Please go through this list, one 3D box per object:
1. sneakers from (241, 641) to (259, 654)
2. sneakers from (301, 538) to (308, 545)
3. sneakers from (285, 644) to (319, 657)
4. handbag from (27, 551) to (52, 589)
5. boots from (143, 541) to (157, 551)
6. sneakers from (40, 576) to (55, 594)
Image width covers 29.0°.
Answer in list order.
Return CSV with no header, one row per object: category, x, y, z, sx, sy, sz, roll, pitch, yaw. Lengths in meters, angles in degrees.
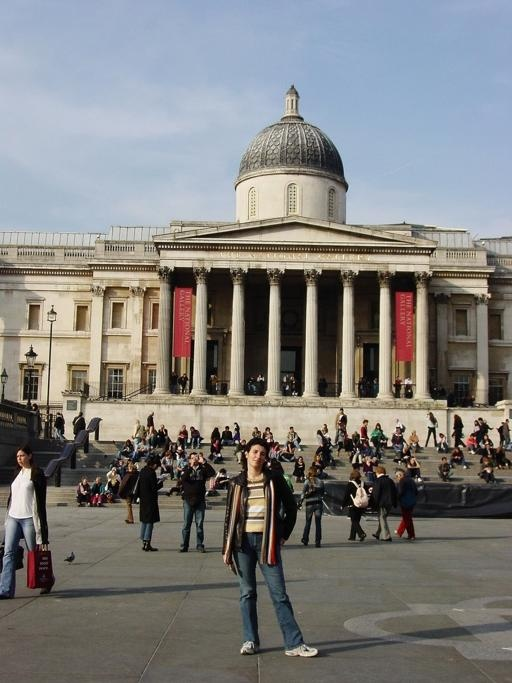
sneakers,-0.055,2.576,8.289,0.069,0.084,0.180,6,-24,27
sneakers,0.889,3.695,18.269,0.123,0.158,0.355,1,-15,-3
sneakers,0.382,2.555,8.204,0.276,0.128,0.105,-3,-3,6
handbag,-2.369,2.492,10.806,0.366,0.499,0.162,6,-12,-38
boots,-1.749,3.367,16.324,0.103,0.212,0.292,5,4,32
sneakers,-2.316,2.724,10.986,0.101,0.137,0.311,12,-14,-3
